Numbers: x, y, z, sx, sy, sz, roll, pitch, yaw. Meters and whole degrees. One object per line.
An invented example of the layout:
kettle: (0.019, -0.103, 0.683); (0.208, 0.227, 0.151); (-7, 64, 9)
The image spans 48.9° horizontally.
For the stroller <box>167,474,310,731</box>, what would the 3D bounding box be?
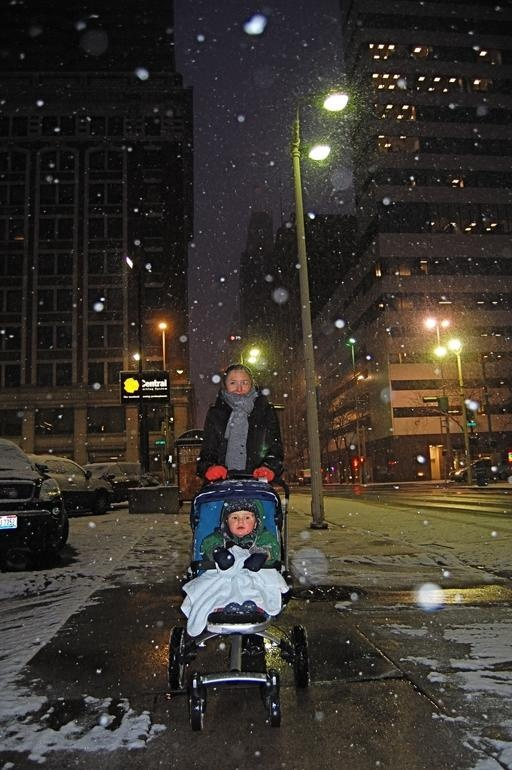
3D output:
stroller: (-0.109, 1.096, 3.088); (0.757, 1.179, 1.346); (-3, -9, 2)

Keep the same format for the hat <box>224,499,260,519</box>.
hat: (-0.099, 0.689, 3.182); (0.127, 0.040, 0.124); (22, -34, -39)

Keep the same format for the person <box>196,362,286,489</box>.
person: (-0.121, 0.238, 3.910); (0.576, 0.821, 0.429); (-3, -8, 2)

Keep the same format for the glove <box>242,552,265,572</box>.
glove: (0.003, 0.907, 2.878); (0.142, 0.095, 0.085); (3, -11, -37)
